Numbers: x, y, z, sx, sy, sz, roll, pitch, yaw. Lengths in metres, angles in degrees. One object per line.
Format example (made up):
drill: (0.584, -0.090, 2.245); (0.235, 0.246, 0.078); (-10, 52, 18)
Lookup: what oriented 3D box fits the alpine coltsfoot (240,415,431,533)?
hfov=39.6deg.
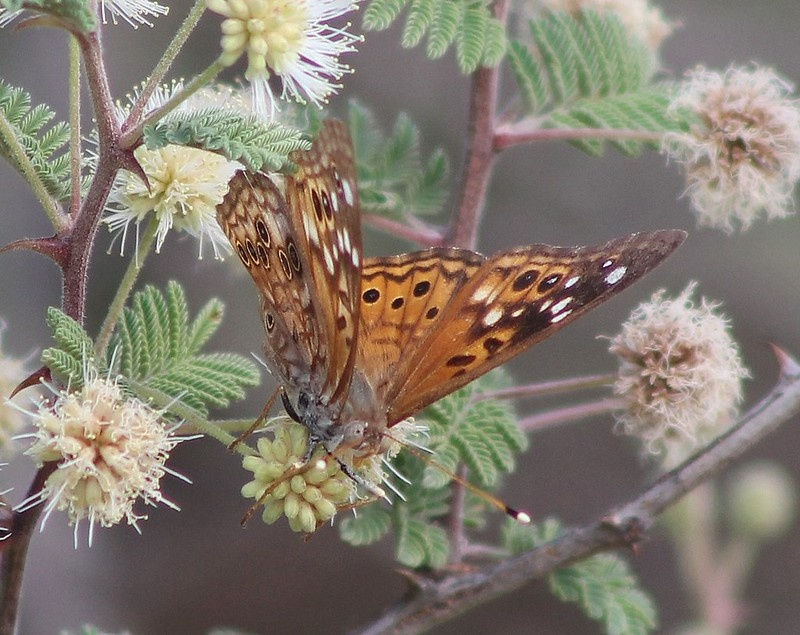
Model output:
alpine coltsfoot: (-0.209, 0.372, 2.737); (0.294, 0.153, 0.319); (10, 10, 11)

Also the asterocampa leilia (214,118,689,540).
asterocampa leilia: (0.022, -0.010, 2.714); (0.782, 0.458, 1.152); (-2, -74, -23)

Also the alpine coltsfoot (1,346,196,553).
alpine coltsfoot: (-0.697, 0.288, 2.603); (0.438, 0.447, 0.183); (-21, -25, -36)
